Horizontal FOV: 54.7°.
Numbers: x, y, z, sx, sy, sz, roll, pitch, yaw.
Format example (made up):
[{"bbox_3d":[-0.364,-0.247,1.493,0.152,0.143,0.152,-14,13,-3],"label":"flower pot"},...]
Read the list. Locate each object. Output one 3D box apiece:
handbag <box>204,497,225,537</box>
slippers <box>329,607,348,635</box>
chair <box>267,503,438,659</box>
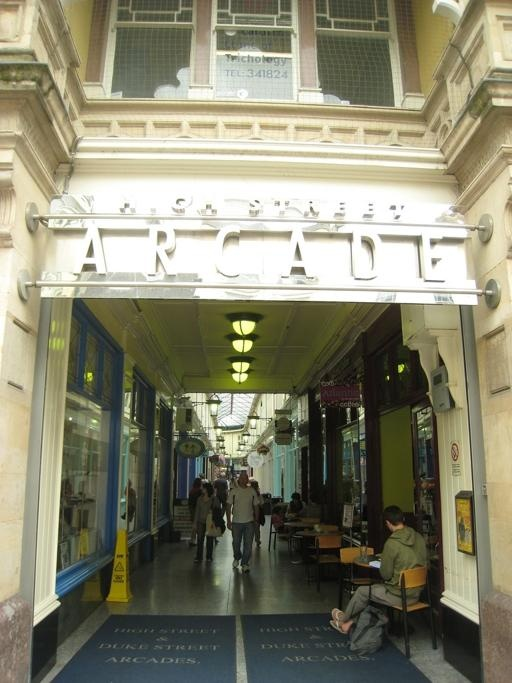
[{"bbox_3d":[-0.821,3.372,9.444,0.227,0.614,0.555,-5,-38,5],"label":"handbag"},{"bbox_3d":[0.794,2.704,4.750,0.112,0.236,0.096,-22,-58,1],"label":"slippers"},{"bbox_3d":[0.932,2.233,4.705,0.647,1.848,1.233,13,-13,-35],"label":"chair"}]
